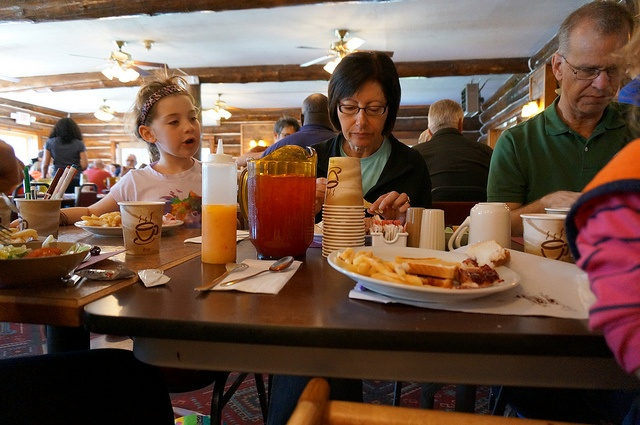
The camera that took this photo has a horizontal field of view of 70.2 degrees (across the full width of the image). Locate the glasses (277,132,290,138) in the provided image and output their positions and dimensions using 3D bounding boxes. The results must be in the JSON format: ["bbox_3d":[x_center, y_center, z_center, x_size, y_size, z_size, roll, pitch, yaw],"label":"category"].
[{"bbox_3d":[-0.478,-0.997,5.843,0.162,0.044,0.150,5,10,24],"label":"glasses"}]

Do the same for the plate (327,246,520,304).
[{"bbox_3d":[0.289,0.166,1.127,0.254,0.029,0.232,-1,6,-18],"label":"plate"}]

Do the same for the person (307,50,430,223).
[{"bbox_3d":[0.212,-0.312,2.422,0.796,0.957,0.567,2,14,-4],"label":"person"}]

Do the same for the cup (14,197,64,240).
[{"bbox_3d":[-0.968,0.022,1.568,0.162,0.126,0.166,-1,2,0],"label":"cup"}]

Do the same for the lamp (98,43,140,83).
[{"bbox_3d":[-2.694,-2.040,6.102,0.331,0.288,0.288,14,28,-15],"label":"lamp"}]

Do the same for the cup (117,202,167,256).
[{"bbox_3d":[-0.580,0.056,1.497,0.163,0.146,0.152,-1,-5,0],"label":"cup"}]

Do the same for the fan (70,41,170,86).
[{"bbox_3d":[-2.703,-2.103,6.144,0.945,0.377,0.952,-6,18,-32],"label":"fan"}]

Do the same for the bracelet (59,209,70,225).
[{"bbox_3d":[-1.112,0.019,1.972,0.052,0.062,0.027,-1,0,-19],"label":"bracelet"}]

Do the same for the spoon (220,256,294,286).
[{"bbox_3d":[-0.144,0.147,1.295,0.060,0.038,0.288,-10,1,44],"label":"spoon"}]

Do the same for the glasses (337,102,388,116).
[{"bbox_3d":[0.201,-0.489,2.163,0.220,0.062,0.078,0,5,5],"label":"glasses"}]

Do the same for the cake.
[{"bbox_3d":[0.402,0.121,1.196,0.135,0.187,0.060,20,-37,-19],"label":"cake"}]
